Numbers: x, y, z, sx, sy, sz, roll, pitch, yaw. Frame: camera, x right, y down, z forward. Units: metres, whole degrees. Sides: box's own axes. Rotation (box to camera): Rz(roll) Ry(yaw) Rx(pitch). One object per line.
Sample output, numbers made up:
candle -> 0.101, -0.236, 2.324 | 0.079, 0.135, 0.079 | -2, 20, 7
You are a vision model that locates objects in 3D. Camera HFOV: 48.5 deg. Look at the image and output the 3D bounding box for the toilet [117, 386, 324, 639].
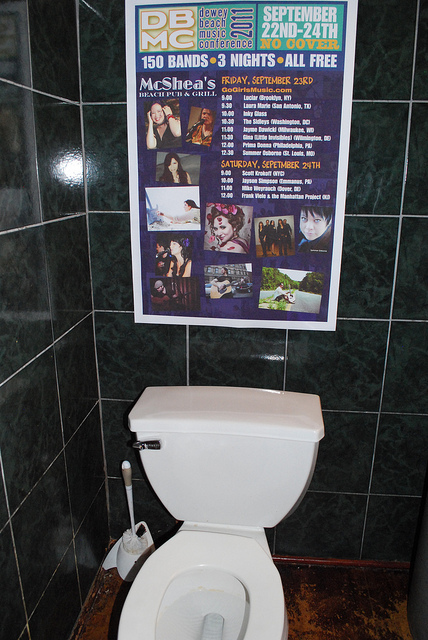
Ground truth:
toilet -> 0.015, 0.434, 1.067 | 0.453, 0.427, 0.469 | 0, 10, 8
